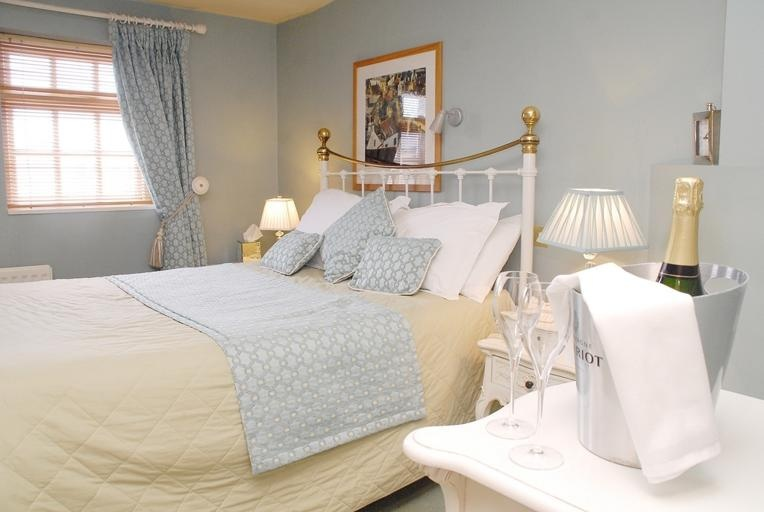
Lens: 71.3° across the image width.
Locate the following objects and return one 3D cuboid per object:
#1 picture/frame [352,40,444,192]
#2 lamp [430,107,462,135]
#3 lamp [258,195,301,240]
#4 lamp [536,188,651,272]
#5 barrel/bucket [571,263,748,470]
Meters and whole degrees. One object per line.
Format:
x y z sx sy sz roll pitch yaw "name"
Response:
0.132 -1.010 3.804 0.052 1.351 1.188 -2 4 -41 "picture/frame"
0.426 -0.877 3.475 0.202 0.163 0.138 0 11 -37 "lamp"
-0.896 -0.324 4.530 0.340 0.410 0.364 2 1 6 "lamp"
0.929 -0.099 2.419 0.370 0.538 0.359 -3 7 -31 "lamp"
0.570 0.228 1.320 0.366 0.416 0.442 -2 6 -10 "barrel/bucket"
